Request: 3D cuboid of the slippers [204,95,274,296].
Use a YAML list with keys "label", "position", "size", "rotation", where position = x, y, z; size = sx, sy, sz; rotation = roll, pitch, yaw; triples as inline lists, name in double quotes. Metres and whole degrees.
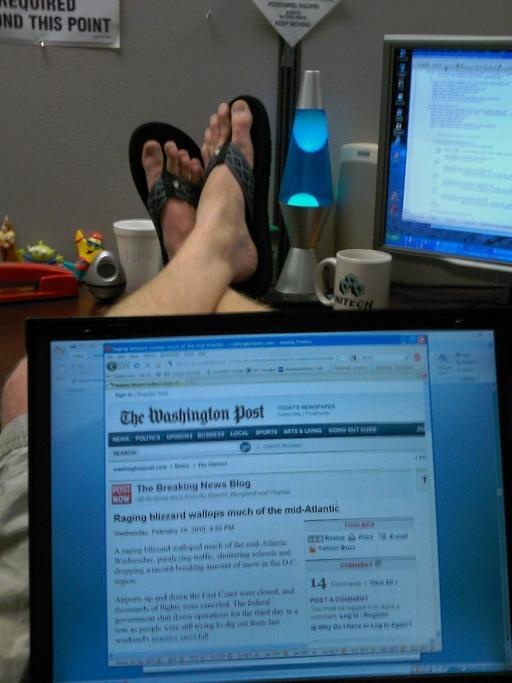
- label: "slippers"
  position: [-0.020, -0.211, 0.969]
  size: [0.085, 0.374, 0.076]
  rotation: [4, 9, 32]
